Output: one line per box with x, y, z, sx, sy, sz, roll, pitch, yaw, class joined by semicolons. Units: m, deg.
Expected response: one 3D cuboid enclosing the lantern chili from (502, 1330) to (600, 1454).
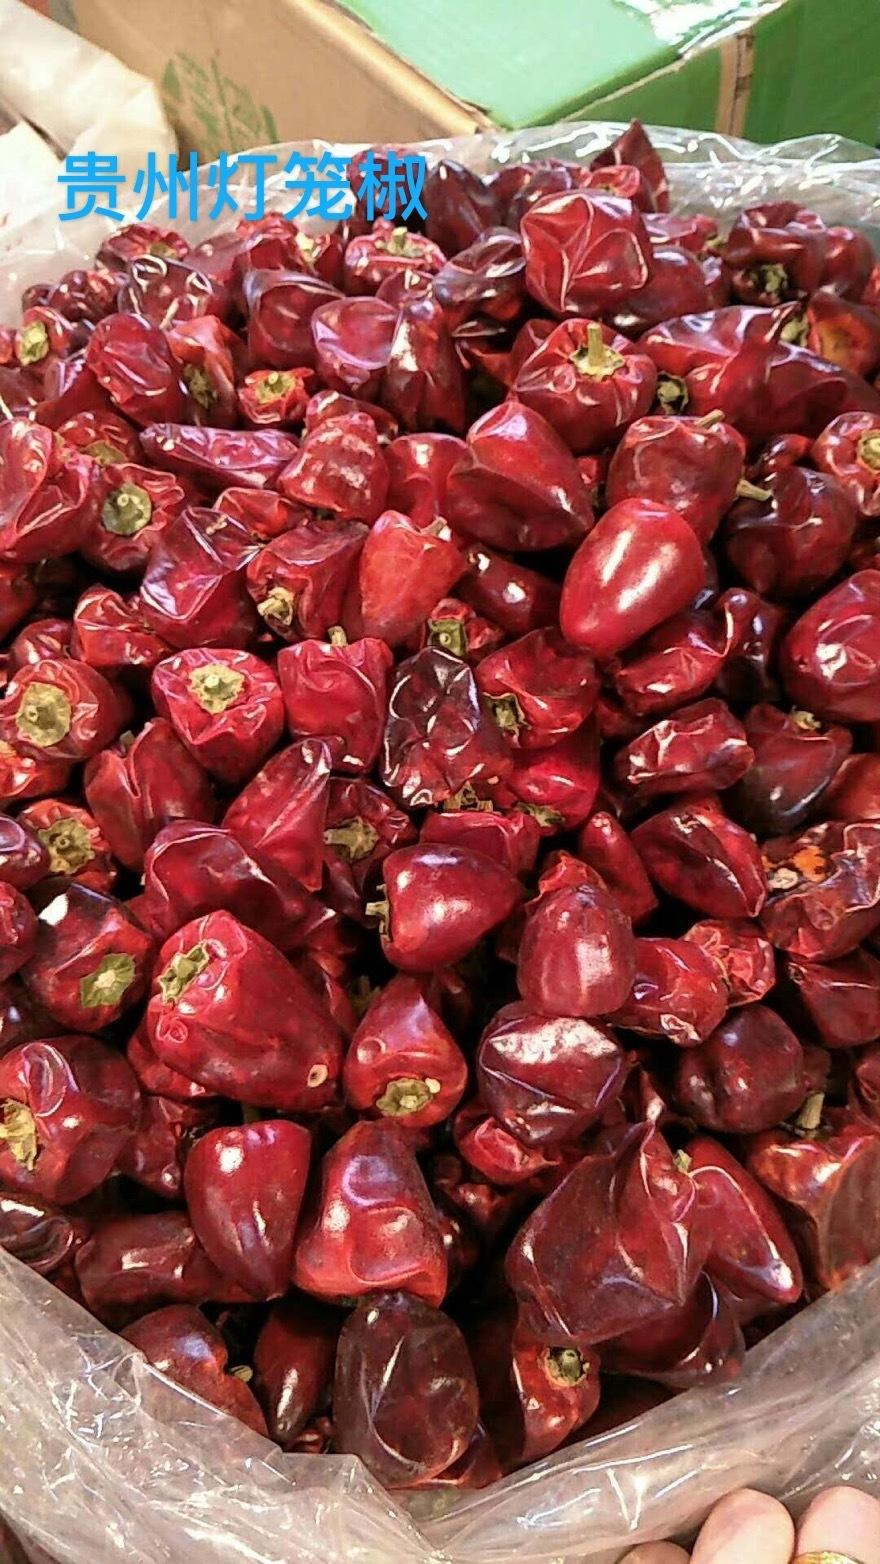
0.069;0.364;0.759;0.060;0.101;0.036;8;13;1;lantern chili

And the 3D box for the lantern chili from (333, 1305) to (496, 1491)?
-0.018;0.343;0.717;0.079;0.107;0.082;6;-7;-14;lantern chili

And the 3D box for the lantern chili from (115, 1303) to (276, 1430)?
-0.142;0.337;0.703;0.035;0.076;0.063;-53;7;-10;lantern chili

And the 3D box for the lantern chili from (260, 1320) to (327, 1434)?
-0.089;0.354;0.723;0.035;0.059;0.020;-2;-21;12;lantern chili
